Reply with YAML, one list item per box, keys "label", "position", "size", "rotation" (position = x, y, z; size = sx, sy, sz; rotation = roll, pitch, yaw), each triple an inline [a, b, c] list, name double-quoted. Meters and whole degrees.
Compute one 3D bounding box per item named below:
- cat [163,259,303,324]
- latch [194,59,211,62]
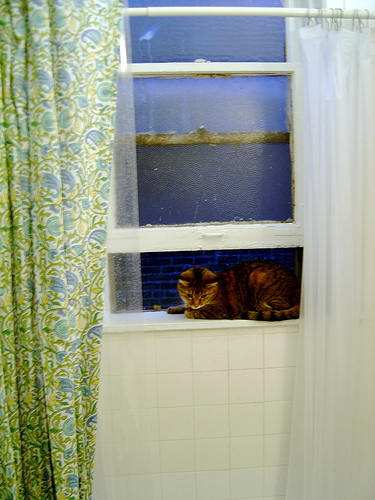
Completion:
- label: "cat"
  position: [0.160, 0.139, 1.866]
  size: [0.353, 0.118, 0.208]
  rotation: [-14, 22, -22]
- label: "latch"
  position: [0.040, -0.593, 1.868]
  size: [0.050, 0.010, 0.006]
  rotation: [2, -34, 0]
